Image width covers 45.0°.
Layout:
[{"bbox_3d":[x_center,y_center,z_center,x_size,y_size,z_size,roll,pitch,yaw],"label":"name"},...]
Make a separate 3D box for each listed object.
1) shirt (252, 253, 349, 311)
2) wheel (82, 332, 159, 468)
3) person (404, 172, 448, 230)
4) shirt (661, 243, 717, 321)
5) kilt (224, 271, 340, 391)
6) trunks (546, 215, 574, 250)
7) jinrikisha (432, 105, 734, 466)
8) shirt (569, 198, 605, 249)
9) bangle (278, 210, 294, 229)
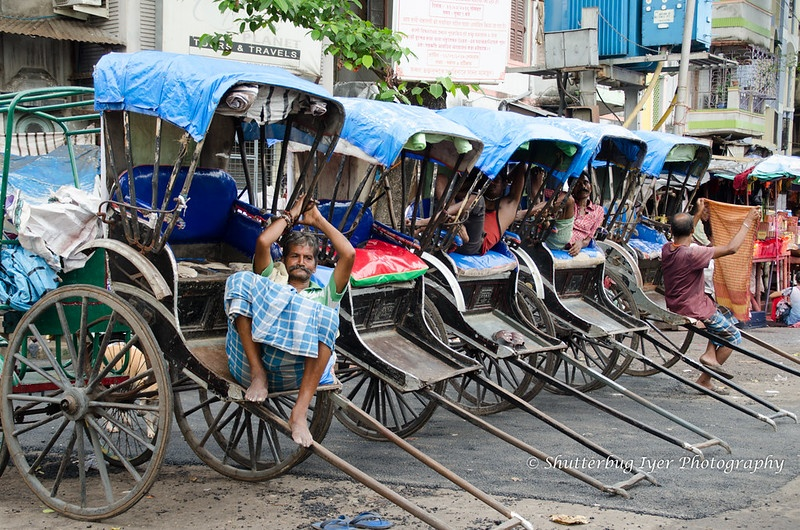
[{"bbox_3d":[-0.793,0.197,7.900,0.744,0.269,0.826,10,-25,-14],"label":"shirt"},{"bbox_3d":[-2.292,1.086,7.821,0.411,1.151,1.206,0,3,-36],"label":"wheel"},{"bbox_3d":[0.296,-0.666,9.797,0.469,0.565,0.521,4,11,-3],"label":"person"},{"bbox_3d":[3.209,0.197,10.795,0.536,0.776,0.851,-7,10,-28],"label":"shirt"},{"bbox_3d":[-1.000,0.425,7.925,0.936,0.716,1.140,12,9,-13],"label":"kilt"},{"bbox_3d":[1.733,-0.332,10.445,0.360,0.340,0.302,6,0,18],"label":"trunks"},{"bbox_3d":[1.573,-0.498,10.628,3.873,2.462,2.269,17,13,36],"label":"jinrikisha"},{"bbox_3d":[2.109,-0.460,10.960,0.429,0.291,0.498,27,60,23],"label":"shirt"},{"bbox_3d":[-0.936,-0.367,7.867,0.064,0.113,0.131,-27,-22,-1],"label":"bangle"}]
